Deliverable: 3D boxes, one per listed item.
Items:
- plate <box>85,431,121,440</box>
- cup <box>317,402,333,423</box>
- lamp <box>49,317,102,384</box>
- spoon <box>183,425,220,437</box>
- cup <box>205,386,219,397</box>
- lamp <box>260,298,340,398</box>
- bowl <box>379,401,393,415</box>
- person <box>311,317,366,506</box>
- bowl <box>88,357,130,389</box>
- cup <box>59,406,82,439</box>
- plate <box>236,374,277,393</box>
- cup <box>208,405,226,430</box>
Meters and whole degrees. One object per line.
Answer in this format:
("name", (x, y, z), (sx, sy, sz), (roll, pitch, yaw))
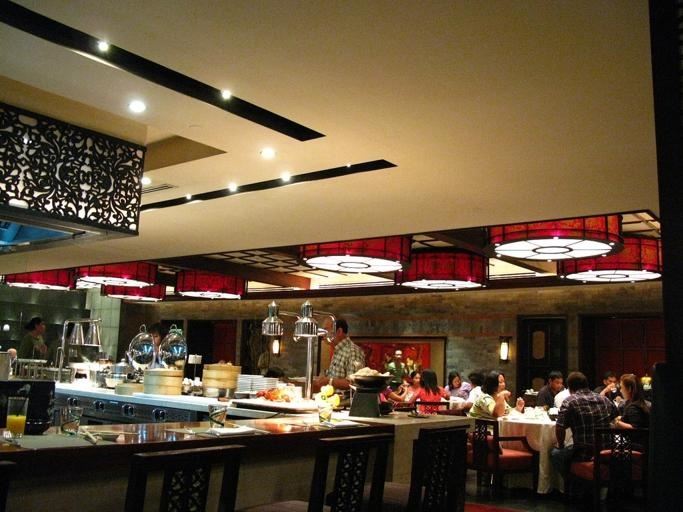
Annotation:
("plate", (-1.207, 0.909, 2.764), (0.219, 0.033, 0.063), (-2, -8, 29))
("cup", (-0.112, 1.061, 3.707), (0.131, 0.146, 0.137), (1, -17, 0))
("lamp", (-3.751, 1.334, 7.813), (0.753, 0.776, 0.851), (-6, -11, 43))
("spoon", (-0.807, 0.994, 3.150), (0.189, 0.030, 0.539), (8, -13, -14))
("cup", (-1.339, 1.390, 5.613), (0.194, 0.112, 0.076), (-6, -17, 38))
("lamp", (-0.389, 0.899, 5.013), (0.594, 0.923, 0.589), (6, 7, 10))
("bowl", (0.355, 1.208, 4.345), (0.092, 0.106, 0.122), (-1, -18, 18))
("person", (-0.035, 1.612, 5.697), (0.642, 1.834, 0.773), (-3, -7, -22))
("bowl", (-3.009, 1.505, 7.203), (0.412, 0.314, 0.748), (1, -10, 3))
("cup", (-1.459, 0.874, 2.946), (0.104, 0.139, 0.209), (10, -14, -24))
("plate", (-0.828, 1.272, 5.506), (0.206, 0.094, 0.276), (-3, -8, 38))
("cup", (-0.716, 0.935, 3.201), (0.132, 0.144, 0.133), (0, -9, 0))
